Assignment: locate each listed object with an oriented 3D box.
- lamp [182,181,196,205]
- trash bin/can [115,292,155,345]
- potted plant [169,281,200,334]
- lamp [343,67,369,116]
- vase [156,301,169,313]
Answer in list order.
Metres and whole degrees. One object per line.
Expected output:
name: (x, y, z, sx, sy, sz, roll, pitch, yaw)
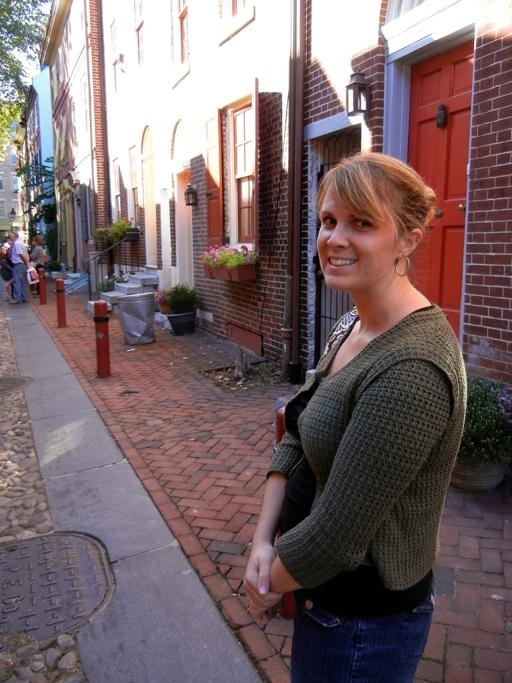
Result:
lamp: (-1.259, -2.819, 10.163, 0.205, 0.456, 0.449, -4, 11, -11)
trash bin/can: (-2.111, -0.377, 9.385, 0.583, 0.936, 0.424, -6, 11, -18)
potted plant: (-1.432, -0.599, 10.222, 0.844, 1.167, 0.834, -2, 9, -13)
lamp: (0.983, -2.461, 5.265, 0.255, 0.385, 0.270, 4, 14, 29)
vase: (-2.092, -0.767, 11.695, 0.228, 0.168, 0.227, 4, 6, -29)
